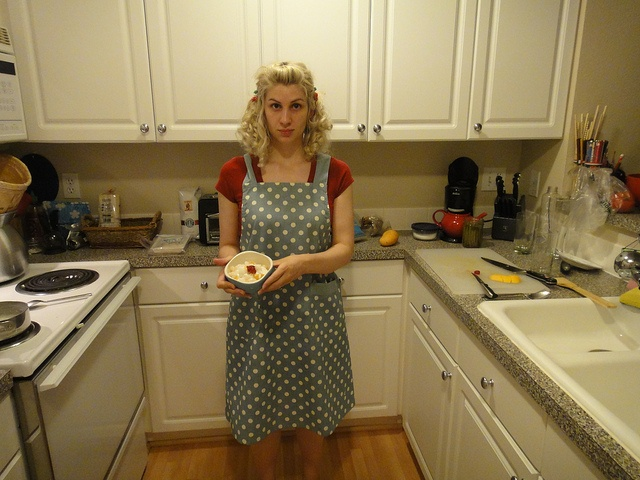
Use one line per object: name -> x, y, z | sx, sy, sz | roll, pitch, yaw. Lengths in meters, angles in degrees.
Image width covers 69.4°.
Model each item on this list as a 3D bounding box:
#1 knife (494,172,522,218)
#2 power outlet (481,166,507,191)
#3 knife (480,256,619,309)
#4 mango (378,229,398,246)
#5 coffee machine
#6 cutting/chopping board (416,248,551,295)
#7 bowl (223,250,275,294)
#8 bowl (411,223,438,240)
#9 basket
knife -> 1.074, -0.227, 2.583 | 0.134, 0.202, 0.144 | -4, 37, 32
power outlet -> 1.037, -0.379, 2.767 | 0.160, 0.169, 0.018 | -1, 9, 0
knife -> 0.946, 0.147, 1.942 | 0.106, 0.028, 0.520 | -8, 19, -40
mango -> 0.365, -0.009, 2.446 | 0.112, 0.072, 0.092 | -3, 15, -8
coffee machine -> 0.793, -0.244, 2.611 | 0.250, 0.469, 0.246 | -3, 11, -18
cutting/chopping board -> 0.730, 0.148, 2.086 | 0.603, 0.049, 0.711 | -1, 16, -4
bowl -> -0.263, 0.116, 1.705 | 0.142, 0.083, 0.179 | 2, 20, 1
bowl -> 0.598, -0.054, 2.617 | 0.141, 0.083, 0.213 | 4, 16, 18
basket -> -1.060, -0.068, 2.504 | 0.386, 0.161, 0.314 | -1, 15, -1
